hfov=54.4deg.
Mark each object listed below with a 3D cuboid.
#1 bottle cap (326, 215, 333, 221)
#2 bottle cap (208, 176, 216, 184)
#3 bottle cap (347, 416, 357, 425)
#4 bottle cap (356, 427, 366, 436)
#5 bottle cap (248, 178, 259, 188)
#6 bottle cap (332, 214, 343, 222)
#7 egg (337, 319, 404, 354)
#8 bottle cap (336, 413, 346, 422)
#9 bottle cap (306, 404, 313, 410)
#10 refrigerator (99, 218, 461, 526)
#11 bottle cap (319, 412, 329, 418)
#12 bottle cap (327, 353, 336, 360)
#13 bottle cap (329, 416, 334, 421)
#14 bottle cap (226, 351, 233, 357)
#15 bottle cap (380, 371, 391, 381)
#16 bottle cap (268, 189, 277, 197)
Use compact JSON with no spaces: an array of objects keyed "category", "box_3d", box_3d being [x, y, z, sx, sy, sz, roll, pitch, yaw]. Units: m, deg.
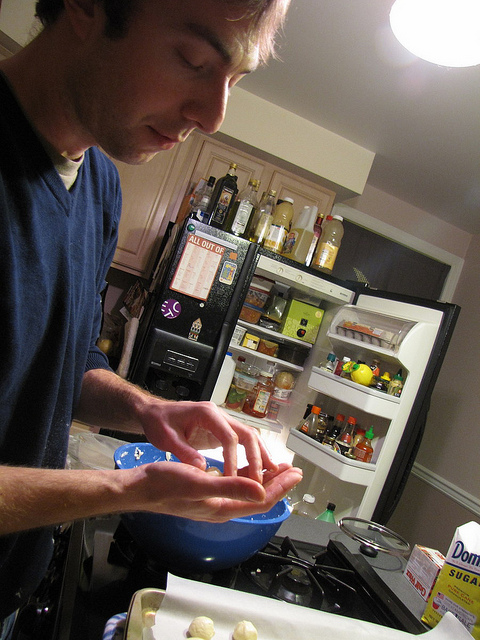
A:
[{"category":"bottle cap","box_3d":[0.497,-0.569,2.591,0.018,0.025,0.025,-16,4,34]},{"category":"bottle cap","box_3d":[-0.140,-0.703,2.348,0.032,0.037,0.084,25,3,-11]},{"category":"bottle cap","box_3d":[0.526,0.456,2.183,0.046,0.034,0.046,6,7,25]},{"category":"bottle cap","box_3d":[0.571,0.521,2.192,0.036,0.039,0.074,26,3,12]},{"category":"bottle cap","box_3d":[0.080,-0.717,2.446,0.051,0.047,0.050,-6,15,-34]},{"category":"bottle cap","box_3d":[0.548,-0.570,2.597,0.052,0.031,0.051,7,-3,-16]},{"category":"egg","box_3d":[0.602,0.070,2.174,0.260,0.121,0.163,-3,6,-27]},{"category":"bottle cap","box_3d":[0.509,0.484,2.317,0.031,0.022,0.031,5,2,7]},{"category":"bottle cap","box_3d":[0.378,0.464,2.515,0.030,0.033,0.029,-4,8,-44]},{"category":"refrigerator","box_3d":[0.024,0.491,2.484,1.590,1.682,1.145,13,-23,19]},{"category":"bottle cap","box_3d":[0.425,0.475,2.351,0.047,0.012,0.025,12,-2,-30]},{"category":"bottle cap","box_3d":[0.463,0.183,2.333,0.027,0.028,0.028,3,-4,-5]},{"category":"bottle cap","box_3d":[0.478,0.504,2.421,0.025,0.046,0.025,6,13,26]},{"category":"bottle cap","box_3d":[-0.058,0.186,2.629,0.027,0.027,0.049,7,5,7]},{"category":"bottle cap","box_3d":[0.675,0.257,2.151,0.030,0.022,0.030,21,2,-9]},{"category":"bottle cap","box_3d":[0.176,-0.686,2.523,0.042,0.044,0.044,1,11,-2]}]
